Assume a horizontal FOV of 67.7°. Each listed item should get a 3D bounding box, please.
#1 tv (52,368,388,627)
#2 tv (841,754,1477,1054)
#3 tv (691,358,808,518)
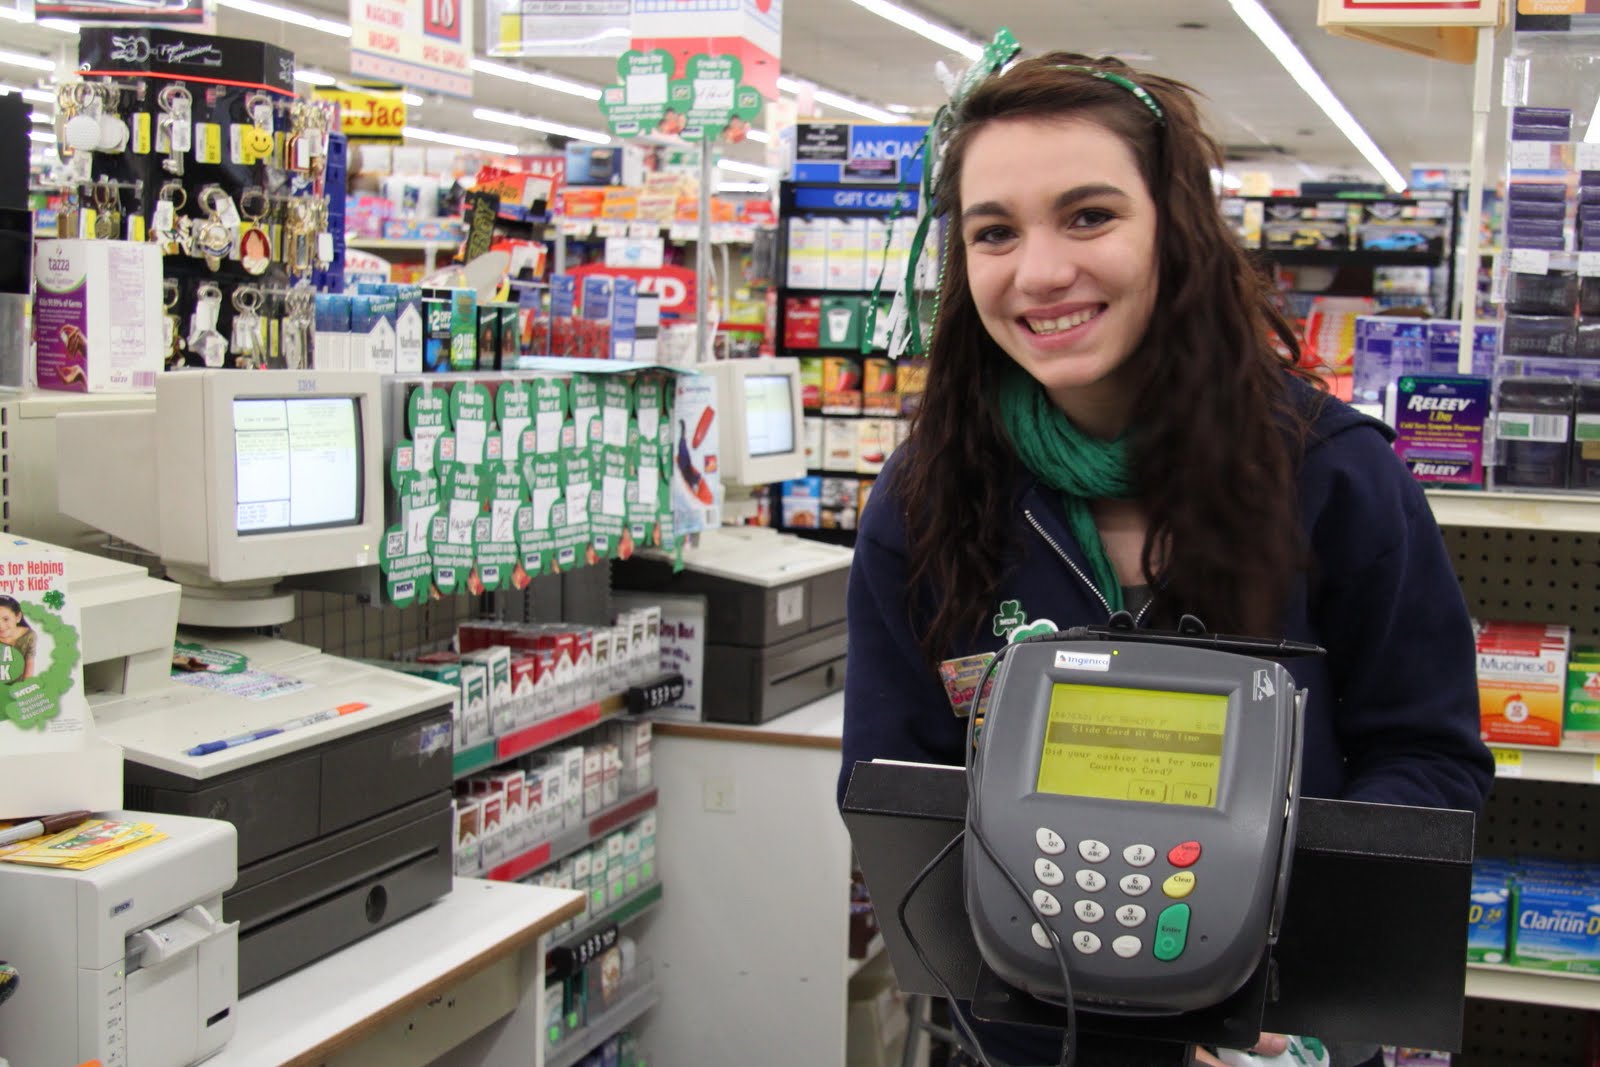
[{"bbox_3d":[-1.292,-0.086,2.551,0.578,0.508,0.470,1,5,12],"label":"tv"},{"bbox_3d":[0.451,0.317,1.302,0.577,0.294,0.400,3,4,33],"label":"tv"},{"bbox_3d":[-0.206,-0.413,4.512,0.242,0.435,0.489,0,7,27],"label":"tv"}]
